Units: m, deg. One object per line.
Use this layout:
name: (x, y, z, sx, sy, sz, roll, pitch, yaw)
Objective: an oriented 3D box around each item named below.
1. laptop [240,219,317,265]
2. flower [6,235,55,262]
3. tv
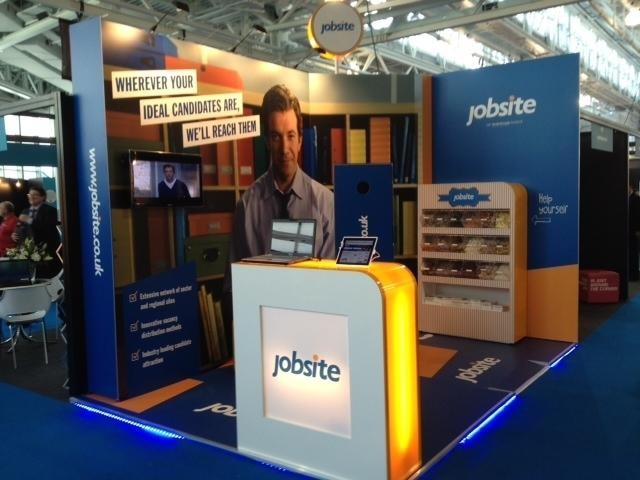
laptop: (-0.255, 0.014, 4.301, 0.443, 0.373, 0.392, 2, 3, 27)
flower: (-3.723, 0.154, 6.727, 0.403, 0.270, 0.431, 1, -3, 1)
tv: (-1.651, -0.651, 5.373, 0.060, 0.463, 0.602, 2, 3, 39)
